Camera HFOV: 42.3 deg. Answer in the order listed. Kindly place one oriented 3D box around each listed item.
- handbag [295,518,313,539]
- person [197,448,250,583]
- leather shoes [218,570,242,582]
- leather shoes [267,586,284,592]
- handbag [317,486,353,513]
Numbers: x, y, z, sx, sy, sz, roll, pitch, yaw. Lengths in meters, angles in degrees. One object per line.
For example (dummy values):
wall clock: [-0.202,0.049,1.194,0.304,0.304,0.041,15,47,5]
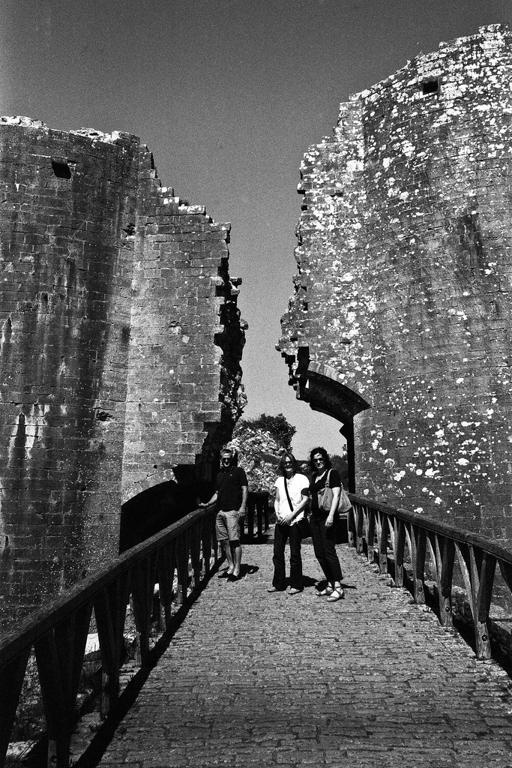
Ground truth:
handbag: [0.461,1.421,6.491,0.081,0.176,0.131,-17,25,-8]
person: [-0.352,1.570,7.920,0.459,1.544,1.248,-1,-5,-2]
leather shoes: [-0.314,2.325,7.934,0.124,0.084,0.282,-2,-23,9]
leather shoes: [0.204,2.191,6.989,0.154,0.076,0.064,18,-22,-19]
handbag: [0.794,1.147,6.483,0.177,0.254,0.481,-5,-7,40]
